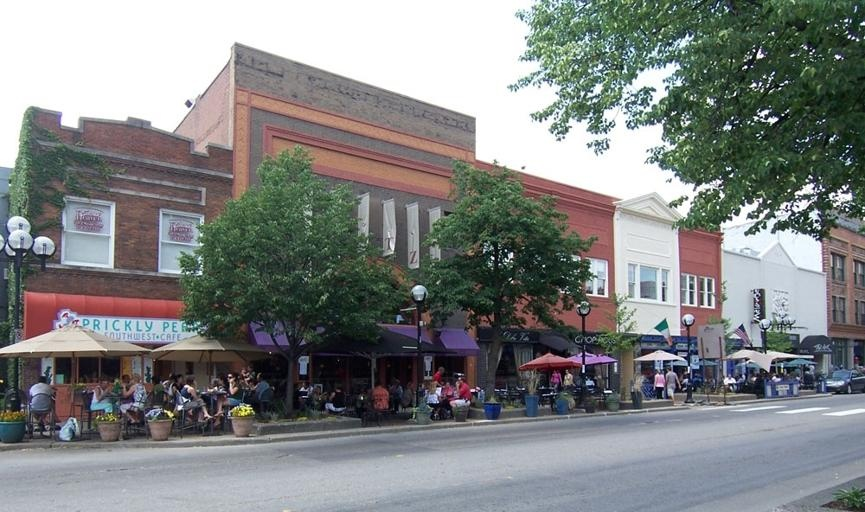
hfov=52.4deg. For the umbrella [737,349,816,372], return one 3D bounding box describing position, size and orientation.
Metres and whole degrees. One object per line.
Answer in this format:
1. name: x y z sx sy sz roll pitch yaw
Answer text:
1. umbrella: 23.643 7.136 60.464 2.573 0.800 2.556 1 -14 -41
